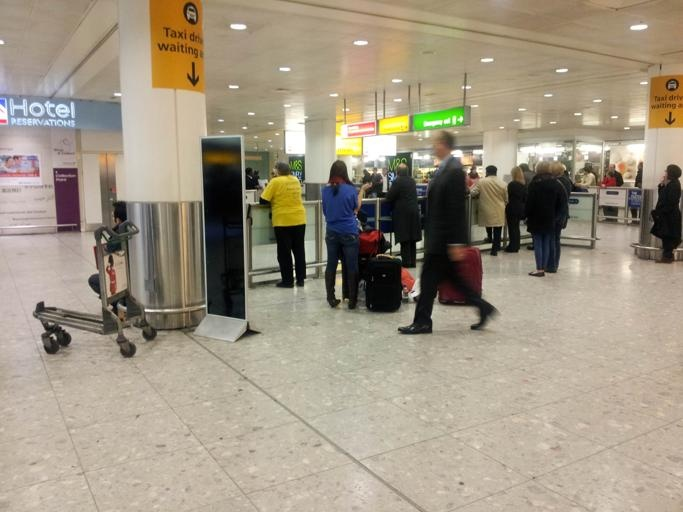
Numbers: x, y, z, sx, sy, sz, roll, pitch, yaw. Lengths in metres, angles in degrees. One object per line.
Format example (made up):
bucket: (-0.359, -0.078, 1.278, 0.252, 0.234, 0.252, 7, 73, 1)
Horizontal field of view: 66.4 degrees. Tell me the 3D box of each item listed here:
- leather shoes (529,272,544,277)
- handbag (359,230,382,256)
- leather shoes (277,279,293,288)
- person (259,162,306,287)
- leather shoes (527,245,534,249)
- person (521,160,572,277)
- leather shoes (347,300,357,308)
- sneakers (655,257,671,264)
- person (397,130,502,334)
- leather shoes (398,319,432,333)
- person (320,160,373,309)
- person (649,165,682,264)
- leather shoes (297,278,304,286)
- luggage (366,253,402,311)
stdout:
leather shoes: (3.369, 0.289, 8.961, 0.251, 0.088, 0.242, 1, 9, 18)
handbag: (0.295, -0.188, 7.253, 0.370, 0.335, 0.281, 2, 1, -37)
leather shoes: (-0.895, 0.438, 8.203, 0.299, 0.185, 0.100, 0, 5, -6)
person: (-0.870, -0.444, 7.938, 0.622, 1.930, 0.610, -2, 9, -1)
leather shoes: (4.214, -0.200, 11.616, 0.149, 0.066, 0.192, -2, 6, 4)
person: (3.509, -0.660, 9.075, 0.474, 1.919, 0.896, 7, 13, 44)
leather shoes: (0.141, 0.652, 6.927, 0.077, 0.117, 0.130, -1, -4, 26)
sneakers: (6.253, 0.080, 10.161, 0.304, 0.123, 0.103, 10, 16, 35)
person: (1.124, -0.236, 5.762, 0.998, 2.238, 0.431, -1, 9, 9)
leather shoes: (0.829, 0.801, 5.979, 0.387, 0.148, 0.141, 3, -5, -6)
person: (0.002, -0.293, 7.027, 0.495, 1.948, 0.557, -2, 9, 0)
person: (6.139, -0.767, 9.852, 0.475, 1.841, 0.408, 3, 11, 29)
leather shoes: (-0.640, 0.417, 8.279, 0.105, 0.110, 0.103, -1, -4, 24)
luggage: (0.542, 0.385, 6.847, 0.458, 0.686, 0.195, -3, 9, -6)
